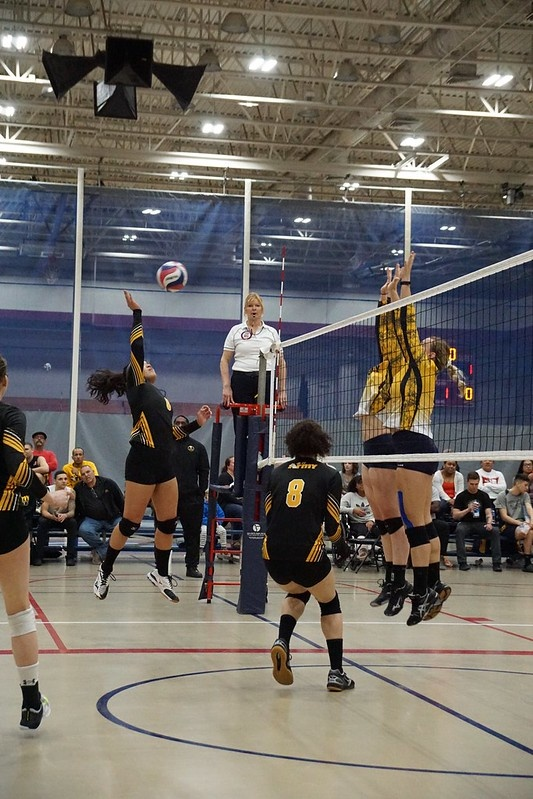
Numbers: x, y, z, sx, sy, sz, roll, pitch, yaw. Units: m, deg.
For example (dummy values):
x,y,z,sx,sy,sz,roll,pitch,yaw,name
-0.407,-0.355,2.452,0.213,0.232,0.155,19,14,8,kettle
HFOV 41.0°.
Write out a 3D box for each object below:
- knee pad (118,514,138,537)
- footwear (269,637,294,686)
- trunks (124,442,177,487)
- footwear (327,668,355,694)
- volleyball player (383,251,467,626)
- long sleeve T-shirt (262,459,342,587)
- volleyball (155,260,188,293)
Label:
x,y,z,sx,sy,sz,roll,pitch,yaw,name
-1.012,0.942,5.291,0.132,0.142,0.254,4,1,11,knee pad
0.058,1.234,3.380,0.099,0.240,0.112,-3,24,21,footwear
-0.860,0.501,5.265,0.424,0.292,0.282,4,-12,-29,trunks
0.376,1.401,3.567,0.073,0.073,0.177,-1,-4,32,footwear
0.970,0.250,4.693,0.597,2.401,0.926,5,1,9,volleyball player
0.158,0.627,3.557,0.410,0.607,0.352,4,1,13,long sleeve T-shirt
-1.088,-1.444,8.298,0.296,0.325,0.509,4,1,-4,volleyball
